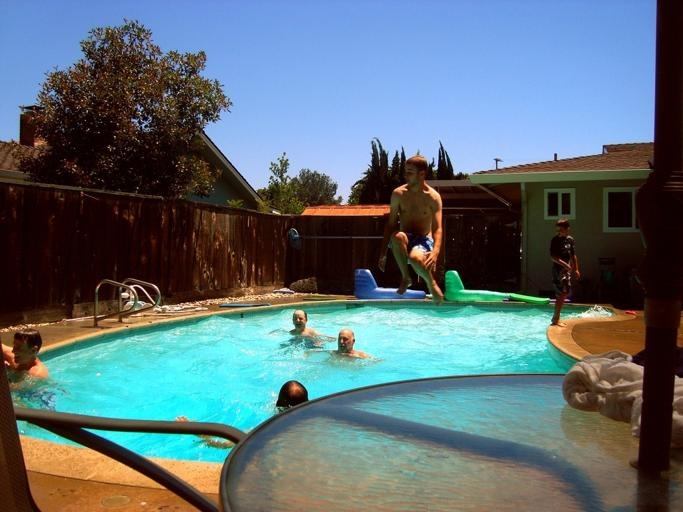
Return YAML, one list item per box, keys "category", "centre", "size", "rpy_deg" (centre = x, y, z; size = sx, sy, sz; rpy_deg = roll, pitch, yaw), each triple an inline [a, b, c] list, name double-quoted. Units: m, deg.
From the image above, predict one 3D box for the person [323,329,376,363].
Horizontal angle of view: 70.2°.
- category: "person"
  centre: [0.052, 1.193, 6.400]
  size: [0.681, 0.389, 0.305]
  rpy_deg: [-1, -10, 22]

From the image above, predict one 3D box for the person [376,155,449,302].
- category: "person"
  centre: [0.896, -0.322, 6.170]
  size: [0.765, 1.804, 1.052]
  rpy_deg: [-3, -1, 12]

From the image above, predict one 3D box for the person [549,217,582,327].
- category: "person"
  centre: [3.305, 0.225, 7.268]
  size: [0.339, 1.658, 0.763]
  rpy_deg: [-4, -1, 35]
